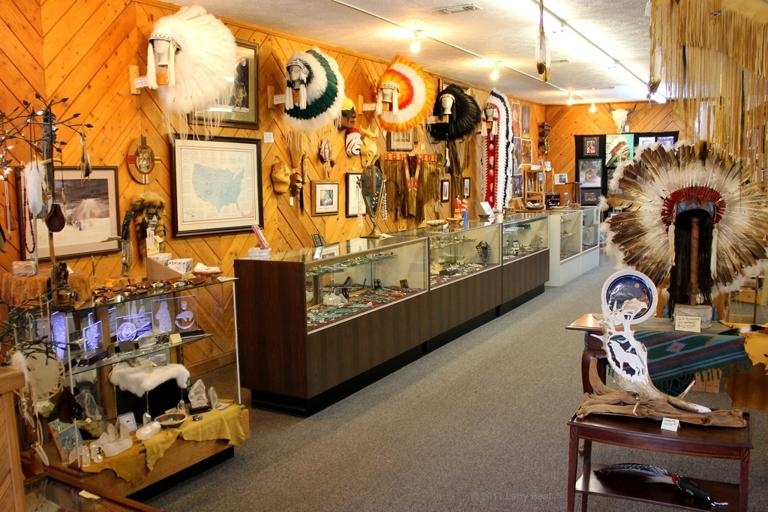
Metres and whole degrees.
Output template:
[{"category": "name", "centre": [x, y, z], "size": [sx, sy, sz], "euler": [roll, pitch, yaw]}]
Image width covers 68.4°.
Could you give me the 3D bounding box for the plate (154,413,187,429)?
[{"category": "plate", "centre": [-1.607, 1.236, 4.236], "size": [0.120, 0.036, 0.113], "euler": [-8, 21, -34]}]

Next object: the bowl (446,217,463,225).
[{"category": "bowl", "centre": [0.958, -0.480, 7.596], "size": [0.216, 0.083, 0.165], "euler": [-1, 11, 4]}]

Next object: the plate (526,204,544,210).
[{"category": "plate", "centre": [2.771, -0.915, 10.350], "size": [0.281, 0.087, 0.320], "euler": [3, 12, 23]}]

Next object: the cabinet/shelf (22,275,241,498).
[{"category": "cabinet/shelf", "centre": [-1.889, 0.970, 4.097], "size": [0.531, 1.263, 1.492], "euler": [-1, 6, 30]}]

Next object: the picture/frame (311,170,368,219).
[{"category": "picture/frame", "centre": [-0.614, -0.807, 7.704], "size": [0.136, 0.642, 1.053], "euler": [5, 13, 32]}]

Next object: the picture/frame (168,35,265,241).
[{"category": "picture/frame", "centre": [-1.827, -1.282, 6.146], "size": [0.278, 2.124, 1.239], "euler": [5, 12, 33]}]
